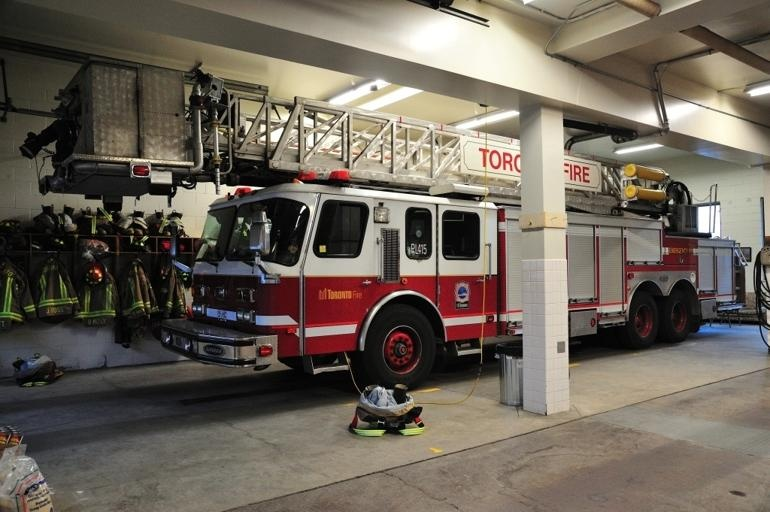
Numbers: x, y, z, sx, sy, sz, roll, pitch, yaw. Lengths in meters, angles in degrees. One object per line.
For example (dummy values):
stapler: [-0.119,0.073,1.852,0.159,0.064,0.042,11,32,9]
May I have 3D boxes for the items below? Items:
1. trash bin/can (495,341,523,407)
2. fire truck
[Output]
trash bin/can: [2.136,1.901,8.675,0.588,0.849,0.555,-16,-27,39]
fire truck: [2.454,-0.604,12.412,16.855,5.110,5.472,3,-5,-33]
